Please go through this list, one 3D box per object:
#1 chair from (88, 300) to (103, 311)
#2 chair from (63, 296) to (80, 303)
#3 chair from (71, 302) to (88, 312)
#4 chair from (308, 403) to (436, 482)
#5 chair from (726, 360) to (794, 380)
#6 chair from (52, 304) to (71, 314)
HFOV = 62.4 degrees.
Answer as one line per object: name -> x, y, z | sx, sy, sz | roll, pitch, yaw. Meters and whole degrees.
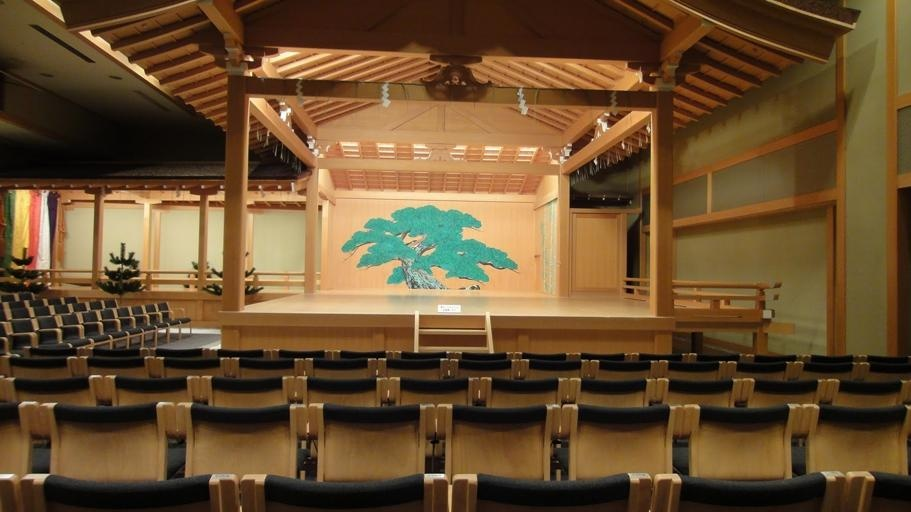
chair -> -8.269, 1.128, 17.303 | 0.258, 0.153, 0.252 | -3, -4, -12
chair -> -9.043, 1.029, 17.695 | 0.204, 0.268, 0.268 | -8, 3, 4
chair -> -8.498, 1.153, 17.012 | 0.228, 0.160, 0.221 | 0, 6, 1
chair -> -1.225, 2.837, 11.378 | 1.289, 1.690, 1.226 | 0, -6, -1
chair -> 5.063, 1.874, 12.368 | 0.949, 0.273, 0.235 | 1, -5, -16
chair -> -8.650, 1.154, 16.487 | 0.236, 0.169, 0.233 | 5, -8, -41
